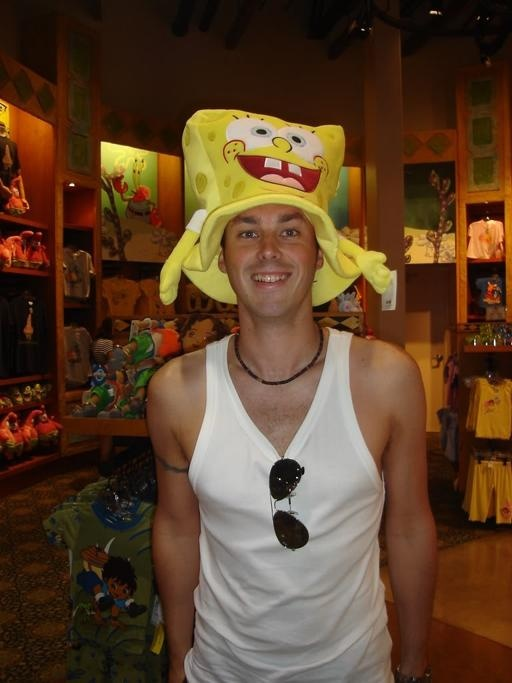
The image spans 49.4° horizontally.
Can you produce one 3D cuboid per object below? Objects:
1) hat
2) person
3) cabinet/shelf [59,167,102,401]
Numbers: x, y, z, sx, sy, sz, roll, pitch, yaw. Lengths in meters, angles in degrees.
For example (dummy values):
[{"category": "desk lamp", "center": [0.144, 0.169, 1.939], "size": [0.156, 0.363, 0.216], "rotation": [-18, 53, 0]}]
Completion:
[{"category": "hat", "center": [0.029, -0.251, 1.088], "size": [0.409, 0.367, 0.243], "rotation": [2, 3, -10]}, {"category": "person", "center": [0.061, 0.216, 1.030], "size": [0.528, 0.914, 0.283], "rotation": [1, 3, -8]}, {"category": "cabinet/shelf", "center": [-1.845, -0.892, 5.808], "size": [0.406, 1.559, 0.202], "rotation": [2, -7, -16]}]
